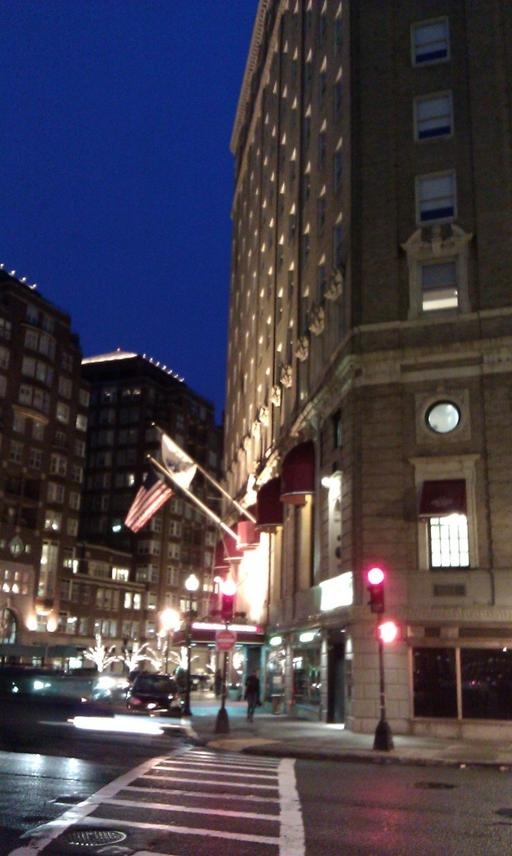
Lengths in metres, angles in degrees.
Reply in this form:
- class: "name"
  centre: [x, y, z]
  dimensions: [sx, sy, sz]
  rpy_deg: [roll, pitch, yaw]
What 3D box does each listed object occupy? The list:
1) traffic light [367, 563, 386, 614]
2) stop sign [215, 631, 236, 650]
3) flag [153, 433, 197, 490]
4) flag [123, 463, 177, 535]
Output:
- class: "traffic light"
  centre: [3.223, 4.343, 18.305]
  dimensions: [0.385, 1.199, 0.985]
  rpy_deg: [-1, -16, 7]
- class: "stop sign"
  centre: [-1.111, 6.828, 21.972]
  dimensions: [0.623, 0.684, 0.150]
  rpy_deg: [13, -28, -30]
- class: "flag"
  centre: [-3.469, 1.557, 30.383]
  dimensions: [1.947, 0.192, 2.160]
  rpy_deg: [21, -60, 6]
- class: "flag"
  centre: [-5.367, 3.302, 33.015]
  dimensions: [1.543, 4.187, 0.223]
  rpy_deg: [8, -30, 25]
